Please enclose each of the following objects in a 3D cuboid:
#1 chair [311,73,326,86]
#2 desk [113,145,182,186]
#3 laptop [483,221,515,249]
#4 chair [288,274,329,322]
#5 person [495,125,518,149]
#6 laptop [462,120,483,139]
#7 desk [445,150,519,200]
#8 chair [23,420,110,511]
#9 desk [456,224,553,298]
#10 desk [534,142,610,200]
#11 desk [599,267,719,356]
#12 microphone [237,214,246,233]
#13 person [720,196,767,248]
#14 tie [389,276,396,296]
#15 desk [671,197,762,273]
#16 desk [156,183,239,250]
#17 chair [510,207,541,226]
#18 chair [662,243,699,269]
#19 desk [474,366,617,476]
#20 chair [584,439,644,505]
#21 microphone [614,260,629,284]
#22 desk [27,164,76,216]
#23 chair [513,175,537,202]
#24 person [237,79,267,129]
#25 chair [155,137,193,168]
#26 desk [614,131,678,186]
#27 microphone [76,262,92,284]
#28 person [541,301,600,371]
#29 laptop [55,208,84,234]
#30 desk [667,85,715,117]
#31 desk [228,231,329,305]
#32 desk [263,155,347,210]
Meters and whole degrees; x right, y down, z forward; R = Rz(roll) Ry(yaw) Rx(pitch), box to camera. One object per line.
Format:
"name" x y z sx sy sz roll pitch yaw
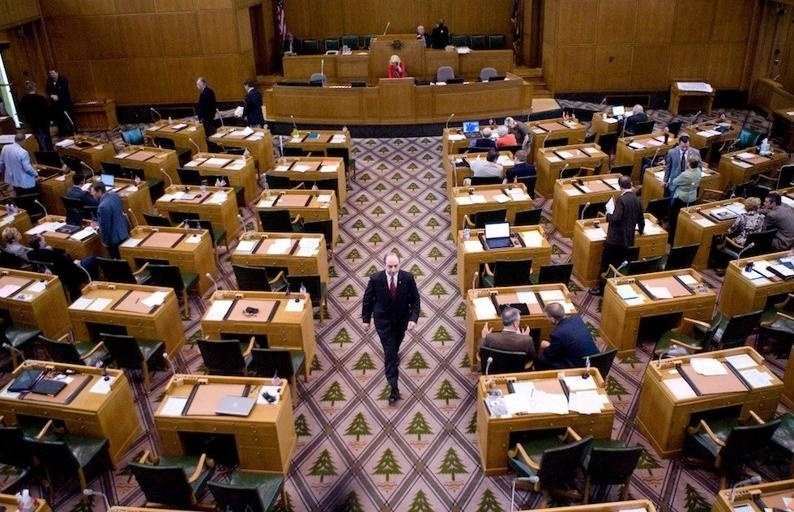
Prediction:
"chair" -2.639 -5.843 18.085 0.386 0.484 0.467 14 11 25
"desk" -6.431 -2.300 13.997 1.101 0.870 0.645 16 45 7
"laptop" 1.966 -0.406 10.599 0.506 0.314 0.470 -2 35 0
"chair" -1.634 0.760 9.906 0.586 1.072 0.643 4 62 -1
"person" 2.935 -3.052 14.157 0.485 0.372 0.830 14 31 30
"laptop" 2.011 -3.446 14.688 0.581 0.359 0.445 -6 43 -7
"desk" 1.914 -2.144 13.189 1.717 1.111 1.154 -2 28 2
"chair" -4.879 2.948 7.996 0.956 1.126 0.693 3 27 11
"desk" 2.087 0.102 10.973 1.687 1.343 0.899 -8 34 -7
"desk" 4.499 -2.228 14.445 1.109 1.246 2.077 -1 3 37
"desk" 4.632 1.001 9.769 1.730 1.175 0.824 -6 26 -8
"microphone" -3.661 -0.753 12.761 0.166 0.430 0.227 -16 68 -23
"person" 6.911 -0.680 10.703 0.638 0.932 0.445 5 28 16
"tie" -0.072 0.488 8.732 0.123 0.316 0.081 -4 26 -1
"desk" 6.450 -0.376 10.894 1.172 0.922 0.683 -21 42 -11
"desk" -4.358 -0.831 11.882 1.299 1.054 0.711 6 40 7
"chair" 2.686 -0.890 11.274 0.459 0.443 0.370 -1 26 -3
"chair" 5.359 0.031 10.201 0.608 0.600 0.316 -10 27 -14
"desk" 2.192 2.984 8.861 2.734 1.715 1.405 -4 41 0
"chair" 2.958 2.909 7.589 0.698 1.147 0.608 1 27 9
"microphone" 4.261 0.267 10.294 0.272 0.110 0.460 19 77 45
"desk" -8.324 -1.536 13.049 0.777 1.459 0.791 20 30 13
"chair" 2.996 -1.647 12.605 0.499 0.688 0.545 -1 47 4
"person" -4.158 -4.359 15.585 0.606 1.423 1.110 -10 27 -13
"chair" -6.045 -2.791 14.736 0.658 1.060 0.614 25 45 19
"desk" 6.176 -2.387 13.458 1.624 1.208 0.989 -10 45 -2
"microphone" -6.093 0.295 10.570 0.266 0.361 0.111 35 40 24
"person" 2.672 1.248 8.418 0.789 0.973 0.456 6 28 17
"laptop" -6.963 -0.751 11.655 0.507 0.552 0.433 4 3 2
"desk" 10.123 -5.434 18.693 1.250 1.033 0.752 -1 27 4
"desk" -2.326 0.276 11.053 1.711 1.336 0.950 4 30 10
"desk" -2.154 -2.120 13.357 1.750 1.148 1.273 2 45 5
